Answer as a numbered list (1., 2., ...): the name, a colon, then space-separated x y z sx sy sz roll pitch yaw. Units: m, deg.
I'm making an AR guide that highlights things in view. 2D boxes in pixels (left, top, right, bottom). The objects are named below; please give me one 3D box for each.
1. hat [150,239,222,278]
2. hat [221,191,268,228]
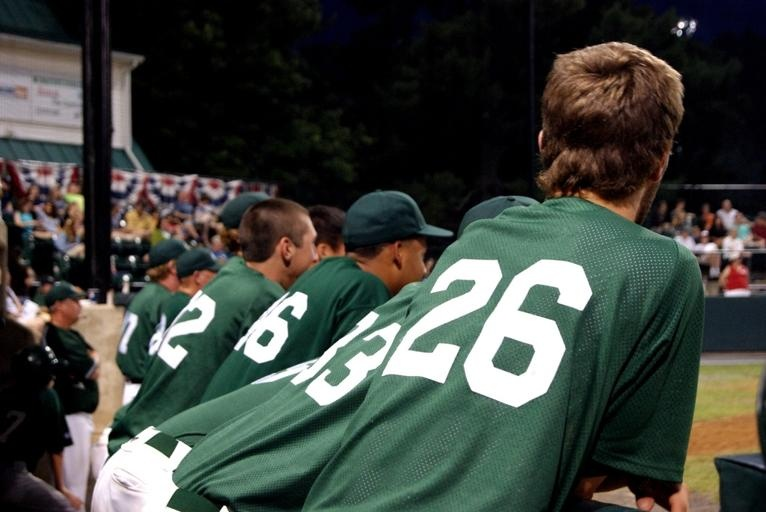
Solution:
1. hat: -2.010 0.005 9.878 0.588 0.302 0.368 2 3 -12
2. hat: -1.300 -0.431 8.861 0.448 0.234 0.301 -22 14 -21
